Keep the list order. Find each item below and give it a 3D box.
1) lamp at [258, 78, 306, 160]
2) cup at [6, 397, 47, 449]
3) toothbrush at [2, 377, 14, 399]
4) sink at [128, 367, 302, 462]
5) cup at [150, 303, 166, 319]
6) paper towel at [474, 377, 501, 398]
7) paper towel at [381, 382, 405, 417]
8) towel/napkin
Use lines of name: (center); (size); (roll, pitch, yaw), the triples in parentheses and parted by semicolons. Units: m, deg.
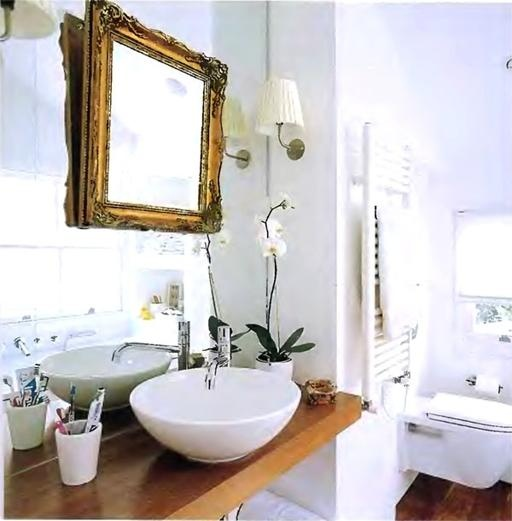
lamp: (0.102, -0.529, 1.725); (0.144, 0.267, 0.170); (3, 4, 16)
cup: (-0.592, 0.407, 1.197); (0.098, 0.144, 0.101); (2, -1, 0)
toothbrush: (-0.634, 0.322, 1.148); (0.025, 0.059, 0.023); (-5, 13, -32)
sink: (-0.110, 0.413, 1.233); (0.454, 0.183, 0.398); (-1, 13, -19)
cup: (-0.339, 0.169, 1.538); (0.034, 0.044, 0.039); (2, 10, -2)
paper towel: (0.883, 0.473, 1.705); (0.070, 0.076, 0.060); (1, 7, 38)
paper towel: (0.558, 0.576, 1.842); (0.146, 0.177, 0.033); (-6, 13, -38)
towel/napkin: (0.566, 0.054, 1.801); (0.205, 0.512, 0.124); (5, 11, 12)
